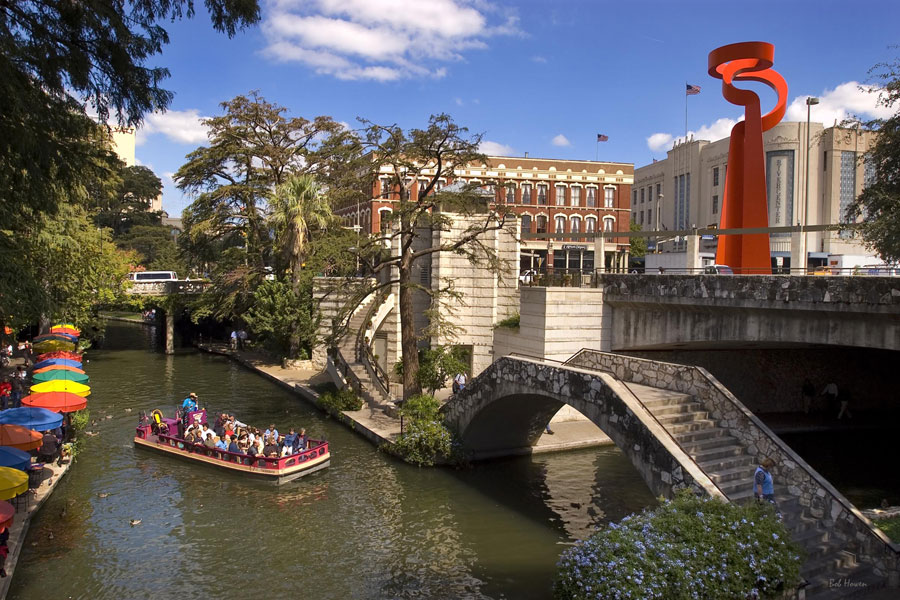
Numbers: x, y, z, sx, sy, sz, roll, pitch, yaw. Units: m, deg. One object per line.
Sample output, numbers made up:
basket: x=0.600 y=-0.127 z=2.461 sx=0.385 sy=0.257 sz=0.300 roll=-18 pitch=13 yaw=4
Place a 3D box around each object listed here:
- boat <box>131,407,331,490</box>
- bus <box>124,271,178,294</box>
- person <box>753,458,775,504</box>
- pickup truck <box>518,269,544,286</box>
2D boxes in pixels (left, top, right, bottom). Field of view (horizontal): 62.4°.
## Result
boat: x=-10.591 y=6.857 z=34.918 sx=9.079 sy=2.185 sz=3.771 roll=2 pitch=3 yaw=34
bus: x=-28.001 y=-1.687 z=69.413 sx=4.802 sy=2.483 sz=2.816 roll=2 pitch=0 yaw=-5
person: x=10.520 y=6.052 z=24.798 sx=0.654 sy=1.509 sz=1.542 roll=2 pitch=0 yaw=26
pickup truck: x=4.743 y=-1.207 z=43.477 sx=1.757 sy=1.022 sz=1.080 roll=6 pitch=7 yaw=22
